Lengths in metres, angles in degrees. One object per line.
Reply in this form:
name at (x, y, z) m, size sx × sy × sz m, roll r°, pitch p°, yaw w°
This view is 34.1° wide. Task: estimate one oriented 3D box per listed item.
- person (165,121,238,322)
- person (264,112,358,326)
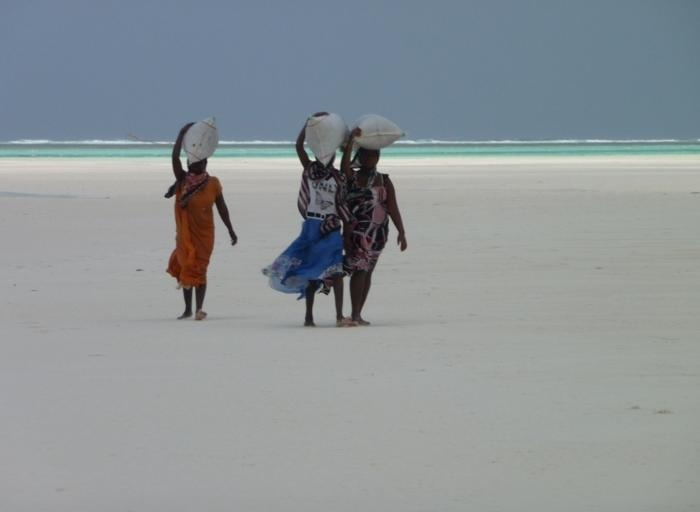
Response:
person at (-1.428, -0.316, 10.637) m, size 0.609 × 1.790 × 0.791 m, roll 1°, pitch 13°, yaw -6°
person at (-0.357, -0.313, 10.209) m, size 0.736 × 1.878 × 0.507 m, roll 2°, pitch 13°, yaw -1°
